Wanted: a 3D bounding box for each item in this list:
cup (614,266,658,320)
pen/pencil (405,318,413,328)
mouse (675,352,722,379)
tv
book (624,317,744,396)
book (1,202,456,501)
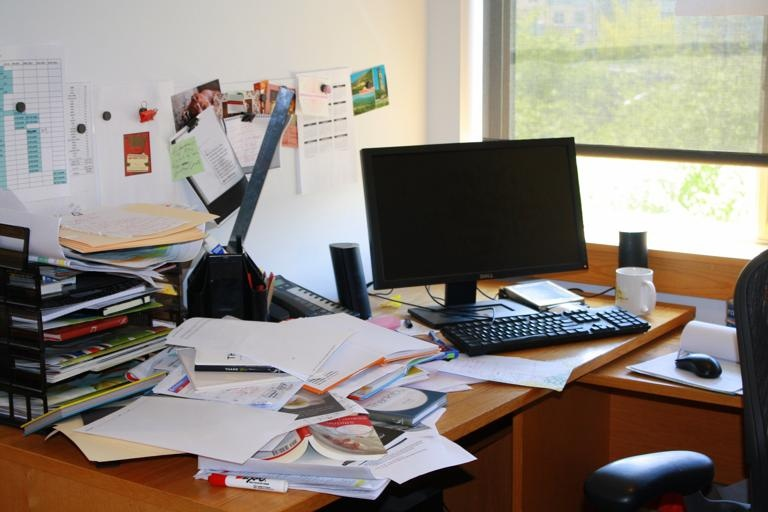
[{"bbox_3d":[0.794,0.122,1.748,0.116,0.144,0.174,-3,11,-10],"label":"cup"},{"bbox_3d":[0.068,0.201,1.645,0.019,0.021,0.022,3,6,-30],"label":"pen/pencil"},{"bbox_3d":[0.838,0.280,1.475,0.060,0.033,0.099,-7,15,-33],"label":"mouse"},{"bbox_3d":[0.279,-0.066,1.726,0.673,0.457,0.206,-4,7,-19],"label":"tv"},{"bbox_3d":[0.848,0.278,1.503,0.218,0.048,0.218,-8,11,-33],"label":"book"},{"bbox_3d":[-0.423,0.187,1.352,0.687,0.392,0.696,2,5,29],"label":"book"}]
